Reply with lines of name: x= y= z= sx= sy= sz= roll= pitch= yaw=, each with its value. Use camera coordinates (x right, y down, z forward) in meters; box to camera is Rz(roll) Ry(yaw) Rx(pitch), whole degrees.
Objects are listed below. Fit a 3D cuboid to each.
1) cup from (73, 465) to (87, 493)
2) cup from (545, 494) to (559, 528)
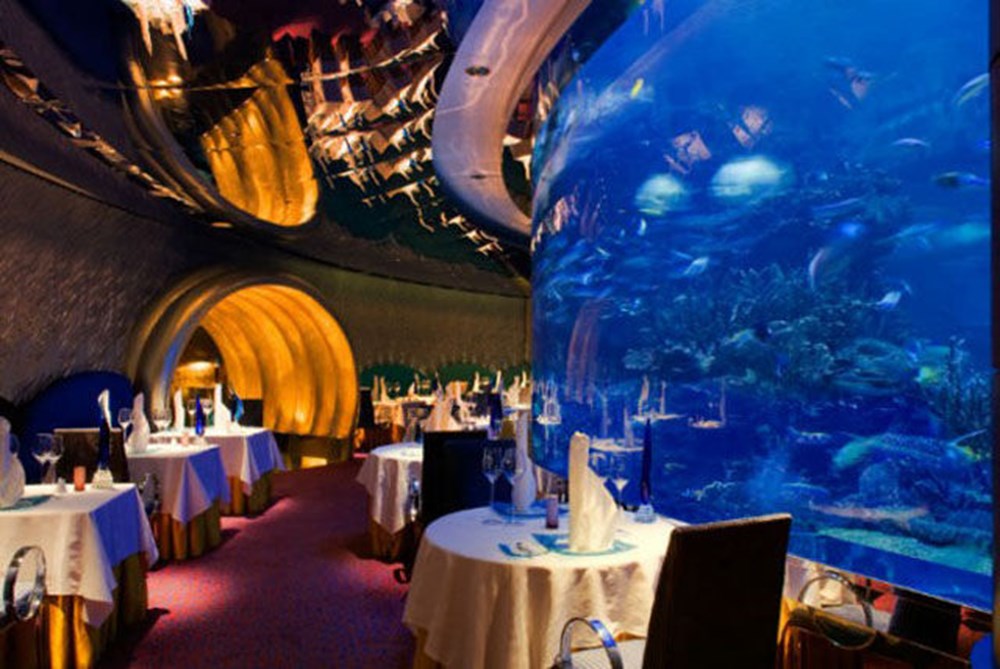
cup: x=-2.791 y=0.948 z=4.477 sx=0.056 sy=0.154 sz=0.123 roll=-3 pitch=4 yaw=-43
cup: x=0.296 y=0.978 z=3.819 sx=0.079 sy=0.183 sz=0.171 roll=1 pitch=3 yaw=4
